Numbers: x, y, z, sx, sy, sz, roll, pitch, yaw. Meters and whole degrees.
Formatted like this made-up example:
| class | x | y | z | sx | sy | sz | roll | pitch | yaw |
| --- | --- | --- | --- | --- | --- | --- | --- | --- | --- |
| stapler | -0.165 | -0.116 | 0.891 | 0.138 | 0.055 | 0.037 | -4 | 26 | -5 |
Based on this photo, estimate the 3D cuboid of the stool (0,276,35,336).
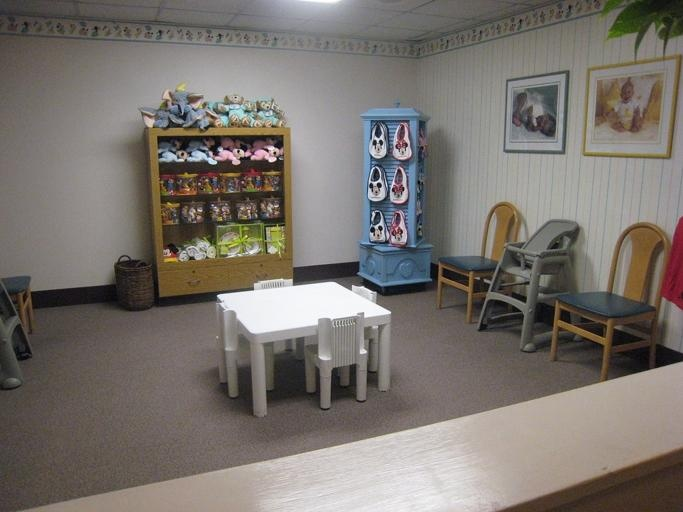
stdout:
| class | x | y | z | sx | sy | sz | roll | pitch | yaw |
| --- | --- | --- | --- | --- | --- | --- | --- | --- | --- |
| stool | -2.918 | 0.453 | 4.622 | 0.213 | 0.510 | 0.577 | -9 | 17 | -32 |

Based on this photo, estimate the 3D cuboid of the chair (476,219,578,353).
| class | x | y | z | sx | sy | sz | roll | pitch | yaw |
| --- | --- | --- | --- | --- | --- | --- | --- | --- | --- |
| chair | 1.714 | 0.218 | 4.560 | 0.736 | 1.025 | 0.709 | -1 | 9 | -3 |

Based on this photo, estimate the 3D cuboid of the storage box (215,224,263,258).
| class | x | y | z | sx | sy | sz | roll | pitch | yaw |
| --- | --- | --- | --- | --- | --- | --- | --- | --- | --- |
| storage box | -1.110 | -0.175 | 5.620 | 0.572 | 0.419 | 0.337 | -2 | 13 | -19 |

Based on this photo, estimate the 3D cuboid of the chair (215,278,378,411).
| class | x | y | z | sx | sy | sz | roll | pitch | yaw |
| --- | --- | --- | --- | --- | --- | --- | --- | --- | --- |
| chair | -0.453 | 0.422 | 3.606 | 0.866 | 0.535 | 0.875 | -5 | 12 | -26 |

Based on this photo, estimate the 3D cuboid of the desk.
| class | x | y | z | sx | sy | sz | roll | pitch | yaw |
| --- | --- | --- | --- | --- | --- | --- | --- | --- | --- |
| desk | -0.166 | 0.802 | 3.818 | 1.303 | 0.587 | 1.313 | 3 | -15 | -44 |

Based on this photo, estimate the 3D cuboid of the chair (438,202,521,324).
| class | x | y | z | sx | sy | sz | roll | pitch | yaw |
| --- | --- | --- | --- | --- | --- | --- | --- | --- | --- |
| chair | 1.411 | 0.023 | 5.211 | 0.651 | 1.157 | 0.594 | -1 | 10 | -16 |

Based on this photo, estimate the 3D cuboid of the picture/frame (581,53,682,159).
| class | x | y | z | sx | sy | sz | roll | pitch | yaw |
| --- | --- | --- | --- | --- | --- | --- | --- | --- | --- |
| picture/frame | 2.332 | -1.182 | 4.141 | 0.149 | 0.771 | 0.809 | -5 | 15 | -20 |

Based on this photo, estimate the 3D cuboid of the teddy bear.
| class | x | y | z | sx | sy | sz | roll | pitch | yaw |
| --- | --- | --- | --- | --- | --- | --- | --- | --- | --- |
| teddy bear | -1.430 | -1.079 | 5.434 | 1.360 | 1.374 | 0.456 | -7 | 14 | -29 |

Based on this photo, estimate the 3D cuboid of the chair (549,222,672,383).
| class | x | y | z | sx | sy | sz | roll | pitch | yaw |
| --- | --- | --- | --- | --- | --- | --- | --- | --- | --- |
| chair | 2.105 | 0.305 | 3.950 | 0.631 | 1.144 | 0.541 | -4 | 11 | -16 |

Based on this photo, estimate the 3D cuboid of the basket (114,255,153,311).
| class | x | y | z | sx | sy | sz | roll | pitch | yaw |
| --- | --- | --- | --- | --- | --- | --- | --- | --- | --- |
| basket | -2.180 | 0.274 | 5.409 | 0.369 | 0.515 | 0.465 | -13 | 19 | -41 |

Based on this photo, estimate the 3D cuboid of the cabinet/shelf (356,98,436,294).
| class | x | y | z | sx | sy | sz | roll | pitch | yaw |
| --- | --- | --- | --- | --- | --- | --- | --- | --- | --- |
| cabinet/shelf | 0.621 | -0.604 | 5.756 | 0.820 | 2.039 | 0.565 | 0 | 14 | 2 |

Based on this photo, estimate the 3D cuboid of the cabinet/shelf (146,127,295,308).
| class | x | y | z | sx | sy | sz | roll | pitch | yaw |
| --- | --- | --- | --- | --- | --- | --- | --- | --- | --- |
| cabinet/shelf | -1.349 | -0.418 | 5.372 | 1.688 | 2.122 | 0.534 | -4 | 9 | -25 |

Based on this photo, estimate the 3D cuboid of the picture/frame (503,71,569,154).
| class | x | y | z | sx | sy | sz | roll | pitch | yaw |
| --- | --- | --- | --- | --- | --- | --- | --- | --- | --- |
| picture/frame | 1.902 | -1.383 | 4.902 | 0.055 | 0.809 | 0.810 | -4 | 11 | -27 |
